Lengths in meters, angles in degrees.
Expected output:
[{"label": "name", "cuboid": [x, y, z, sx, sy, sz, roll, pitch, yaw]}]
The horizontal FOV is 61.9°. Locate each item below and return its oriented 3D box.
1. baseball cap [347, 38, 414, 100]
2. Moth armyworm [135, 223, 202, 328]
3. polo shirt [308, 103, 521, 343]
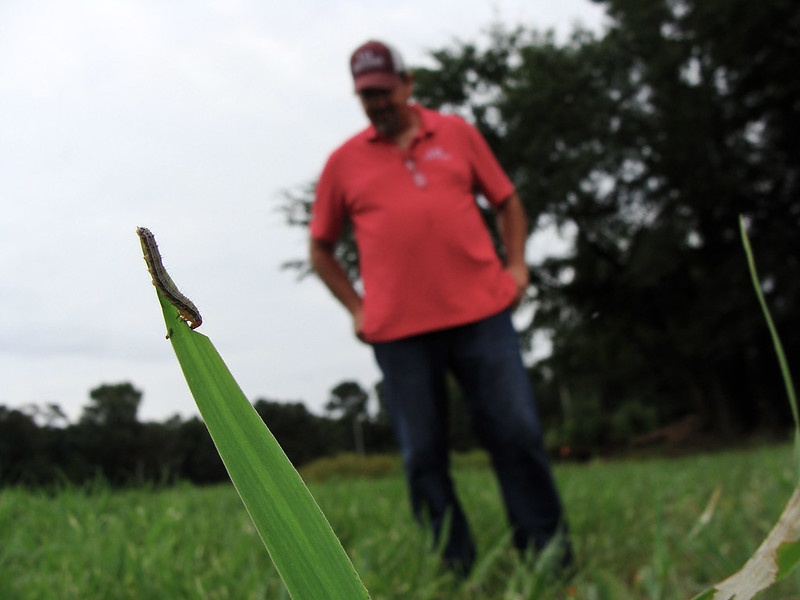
[{"label": "baseball cap", "cuboid": [-0.063, -0.557, 1.664, 0.122, 0.168, 0.194, -9, 17, 9]}, {"label": "Moth armyworm", "cuboid": [-0.425, -0.013, 1.231, 0.050, 0.204, 0.056, -40, -20, 25]}, {"label": "polo shirt", "cuboid": [0.052, -0.202, 1.653, 0.388, 0.484, 0.238, -14, 4, -5]}]
